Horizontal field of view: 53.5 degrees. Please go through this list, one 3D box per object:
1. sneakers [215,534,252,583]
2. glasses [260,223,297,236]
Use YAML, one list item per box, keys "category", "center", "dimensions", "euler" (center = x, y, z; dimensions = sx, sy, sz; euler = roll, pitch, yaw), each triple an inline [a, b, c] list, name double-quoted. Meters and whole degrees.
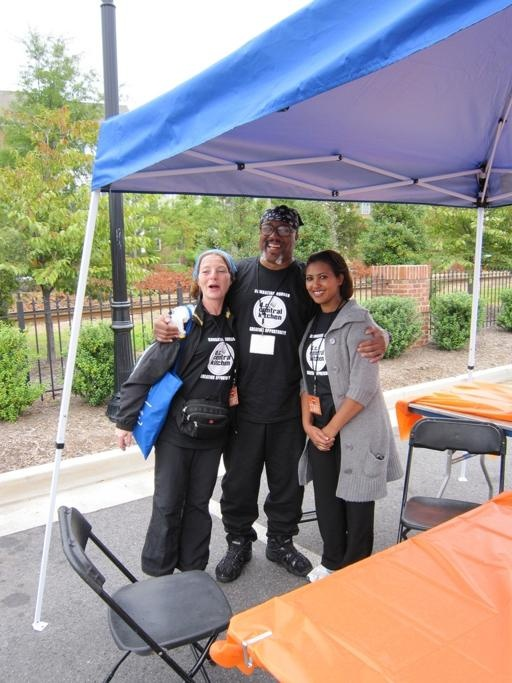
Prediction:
- category: "sneakers"
  center: [-0.133, 1.325, 3.087]
  dimensions: [0.116, 0.146, 0.338]
  euler: [-1, -8, 21]
- category: "glasses"
  center: [0.128, -0.645, 2.916]
  dimensions: [0.199, 0.078, 0.112]
  euler: [0, 4, 2]
